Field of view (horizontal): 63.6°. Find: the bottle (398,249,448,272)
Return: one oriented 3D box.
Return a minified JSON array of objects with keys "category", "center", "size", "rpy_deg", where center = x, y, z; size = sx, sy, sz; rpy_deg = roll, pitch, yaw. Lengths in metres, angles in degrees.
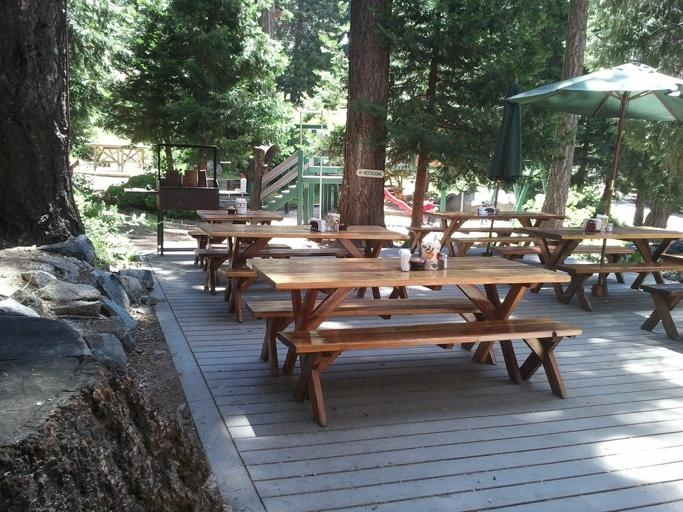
[{"category":"bottle","center":[0.689,0.034,4.646],"size":[0.340,0.108,0.198],"rpy_deg":[2,5,-5]}]

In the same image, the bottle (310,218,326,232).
[{"category":"bottle","center":[-0.288,-0.349,6.378],"size":[0.146,0.164,0.234],"rpy_deg":[-13,26,-31]}]

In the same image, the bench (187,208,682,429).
[{"category":"bench","center":[0.521,0.562,4.650],"size":[2.455,0.970,1.428],"rpy_deg":[-1,14,-16]}]
